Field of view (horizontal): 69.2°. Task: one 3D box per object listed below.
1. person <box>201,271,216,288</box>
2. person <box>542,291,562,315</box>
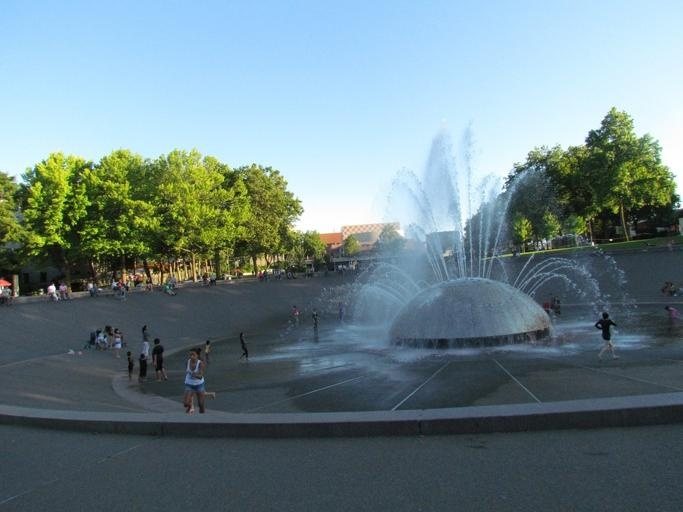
[{"bbox_3d":[-13.426,2.450,50.200,1.571,1.056,1.042,-5,8,4],"label":"person"},{"bbox_3d":[11.896,2.664,27.925,0.743,0.761,1.342,6,-4,15],"label":"person"}]
